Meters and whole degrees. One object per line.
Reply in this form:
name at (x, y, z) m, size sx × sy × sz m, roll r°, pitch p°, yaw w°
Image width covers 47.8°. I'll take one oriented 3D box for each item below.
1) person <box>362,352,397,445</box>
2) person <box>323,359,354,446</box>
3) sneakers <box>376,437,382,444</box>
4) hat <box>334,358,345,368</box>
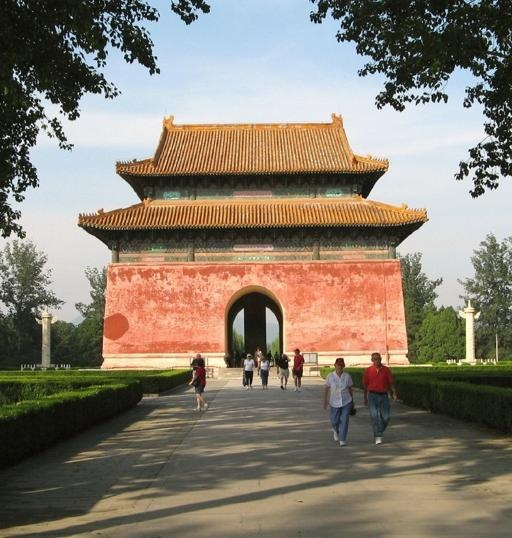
person at (2.026, 2.064, 9.389) m, size 0.496 × 1.414 × 0.832 m, roll 0°, pitch -9°, yaw 13°
person at (1.343, 2.067, 9.149) m, size 0.396 × 1.309 × 0.647 m, roll 4°, pitch -9°, yaw -19°
sneakers at (1.931, 2.651, 8.997) m, size 0.050 × 0.077 × 0.167 m, roll 1°, pitch 9°, yaw 2°
hat at (1.347, 1.484, 9.168) m, size 0.168 × 0.169 × 0.183 m, roll 0°, pitch -12°, yaw 2°
